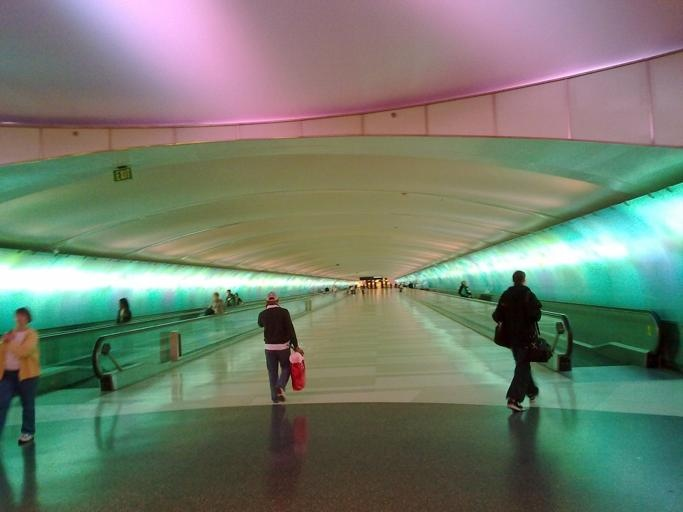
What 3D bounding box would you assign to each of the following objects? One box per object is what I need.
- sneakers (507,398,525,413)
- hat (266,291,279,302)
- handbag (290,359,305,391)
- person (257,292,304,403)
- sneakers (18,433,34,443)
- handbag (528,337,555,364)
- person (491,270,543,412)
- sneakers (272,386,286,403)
[{"bbox_3d":[2.588,2.271,6.690,0.369,0.140,0.122,12,-9,-43],"label":"sneakers"},{"bbox_3d":[-1.268,0.746,8.033,0.158,0.175,0.208,-1,-19,1],"label":"hat"},{"bbox_3d":[-0.778,2.075,7.684,0.233,0.417,0.238,-2,-1,-12],"label":"handbag"},{"bbox_3d":[-1.166,1.617,8.214,0.722,1.557,1.219,-2,-1,-10],"label":"person"},{"bbox_3d":[-4.502,2.622,6.357,0.097,0.081,0.211,4,6,31],"label":"sneakers"},{"bbox_3d":[3.071,1.470,6.891,0.218,0.406,0.464,-3,-2,42],"label":"handbag"},{"bbox_3d":[2.732,1.301,6.911,0.654,2.194,0.587,-3,-1,11],"label":"person"},{"bbox_3d":[-1.109,2.409,7.684,0.156,0.317,0.139,-10,5,-4],"label":"sneakers"}]
